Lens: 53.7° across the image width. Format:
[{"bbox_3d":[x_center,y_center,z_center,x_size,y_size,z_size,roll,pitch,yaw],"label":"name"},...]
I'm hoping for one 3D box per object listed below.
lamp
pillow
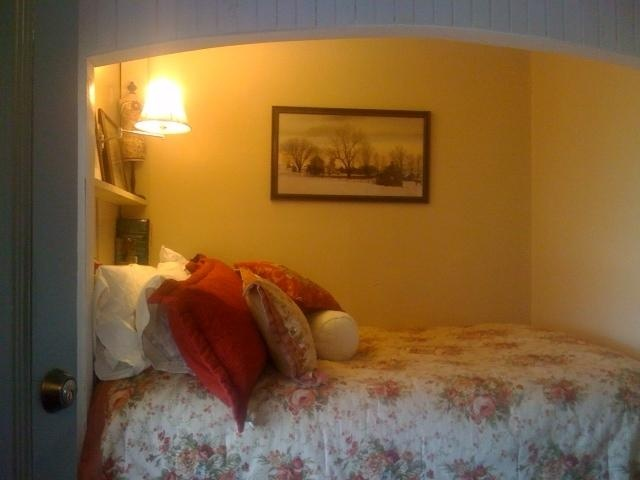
[{"bbox_3d":[-1.005,-0.755,3.823,0.488,0.429,0.375,-2,2,12],"label":"lamp"},{"bbox_3d":[-0.374,0.390,3.003,0.699,0.336,0.796,6,1,28],"label":"pillow"}]
